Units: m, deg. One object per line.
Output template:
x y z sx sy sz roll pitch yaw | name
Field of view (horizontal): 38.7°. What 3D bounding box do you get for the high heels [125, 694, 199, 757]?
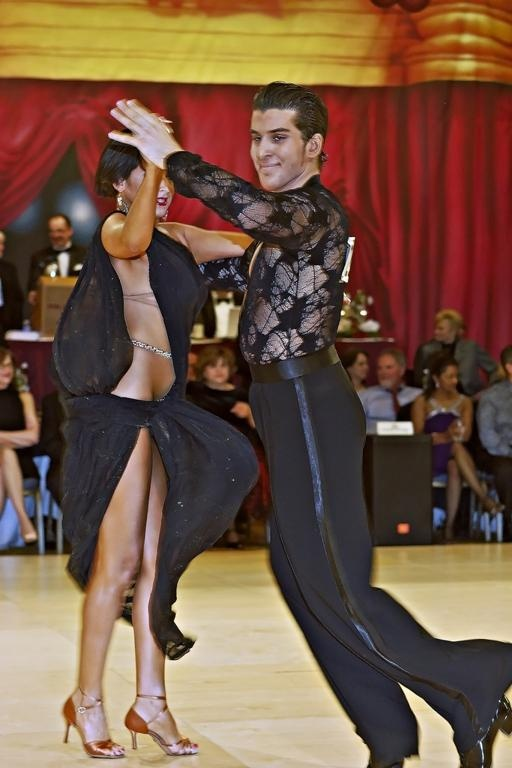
-0.235 0.814 1.763 0.213 0.139 0.098 3 -1 -7 | high heels
